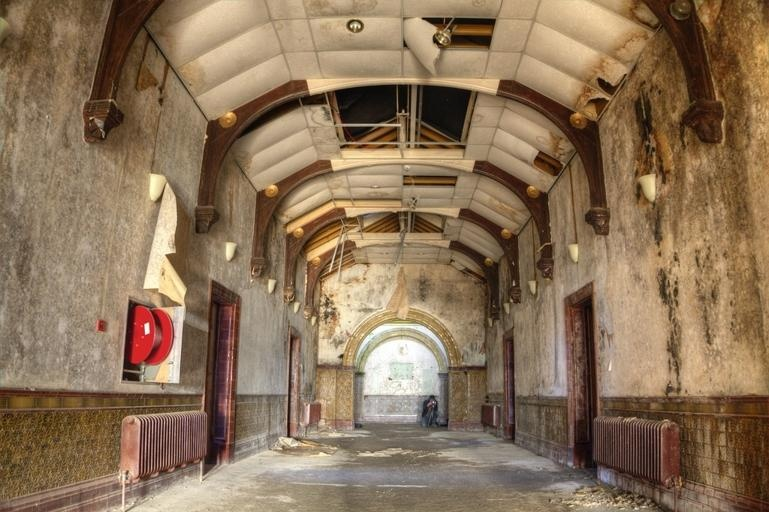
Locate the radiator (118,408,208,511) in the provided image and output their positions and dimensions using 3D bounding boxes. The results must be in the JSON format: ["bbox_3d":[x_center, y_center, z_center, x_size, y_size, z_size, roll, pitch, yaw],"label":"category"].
[{"bbox_3d":[-2.864,2.618,7.034,0.220,0.848,1.339,-5,-11,11],"label":"radiator"}]
